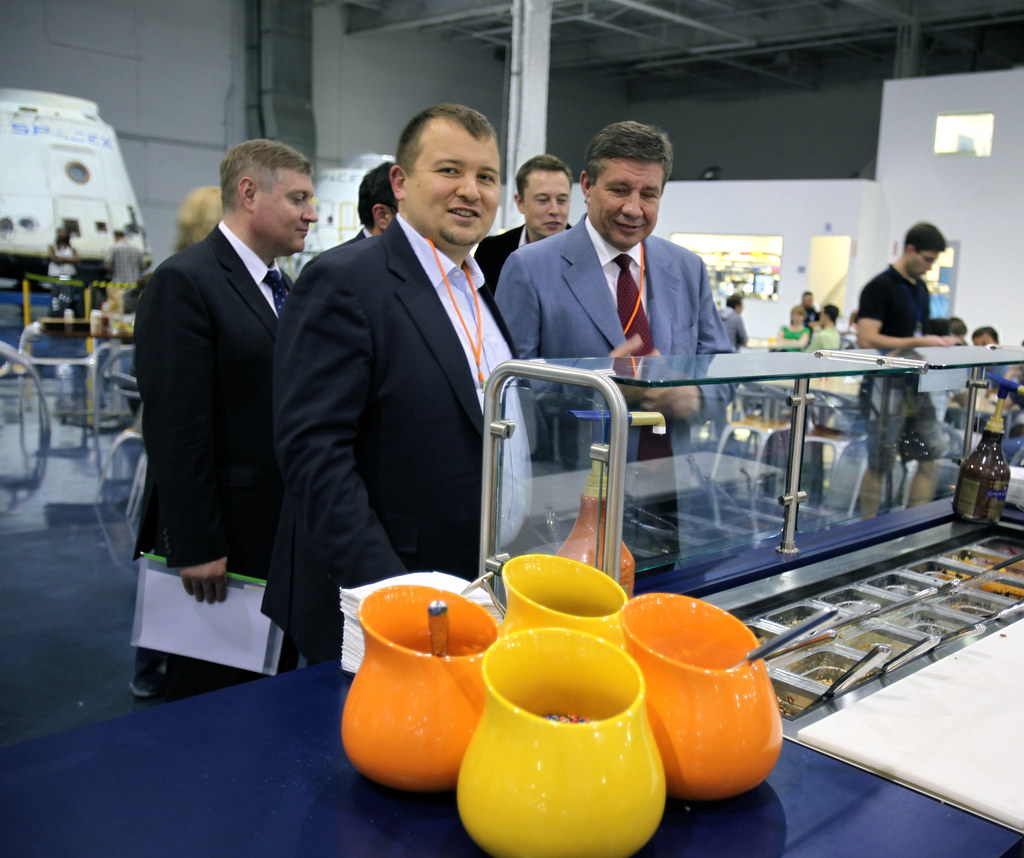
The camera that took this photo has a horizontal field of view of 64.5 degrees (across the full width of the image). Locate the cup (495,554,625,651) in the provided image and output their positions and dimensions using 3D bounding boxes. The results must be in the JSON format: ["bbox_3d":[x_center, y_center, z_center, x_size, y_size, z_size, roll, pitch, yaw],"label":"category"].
[{"bbox_3d":[0.059,0.165,0.895,0.098,0.094,0.098,4,9,-1],"label":"cup"}]

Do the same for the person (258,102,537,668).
[{"bbox_3d":[-0.168,-0.160,1.443,0.308,0.848,0.524,11,13,36],"label":"person"}]

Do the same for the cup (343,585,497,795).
[{"bbox_3d":[-0.071,0.257,0.907,0.177,0.202,0.178,16,7,-2],"label":"cup"}]

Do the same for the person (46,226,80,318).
[{"bbox_3d":[-5.015,-1.767,9.052,0.286,1.036,0.299,3,34,-27],"label":"person"}]

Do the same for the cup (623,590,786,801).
[{"bbox_3d":[0.199,0.282,0.899,0.147,0.161,0.210,-3,11,-11],"label":"cup"}]
